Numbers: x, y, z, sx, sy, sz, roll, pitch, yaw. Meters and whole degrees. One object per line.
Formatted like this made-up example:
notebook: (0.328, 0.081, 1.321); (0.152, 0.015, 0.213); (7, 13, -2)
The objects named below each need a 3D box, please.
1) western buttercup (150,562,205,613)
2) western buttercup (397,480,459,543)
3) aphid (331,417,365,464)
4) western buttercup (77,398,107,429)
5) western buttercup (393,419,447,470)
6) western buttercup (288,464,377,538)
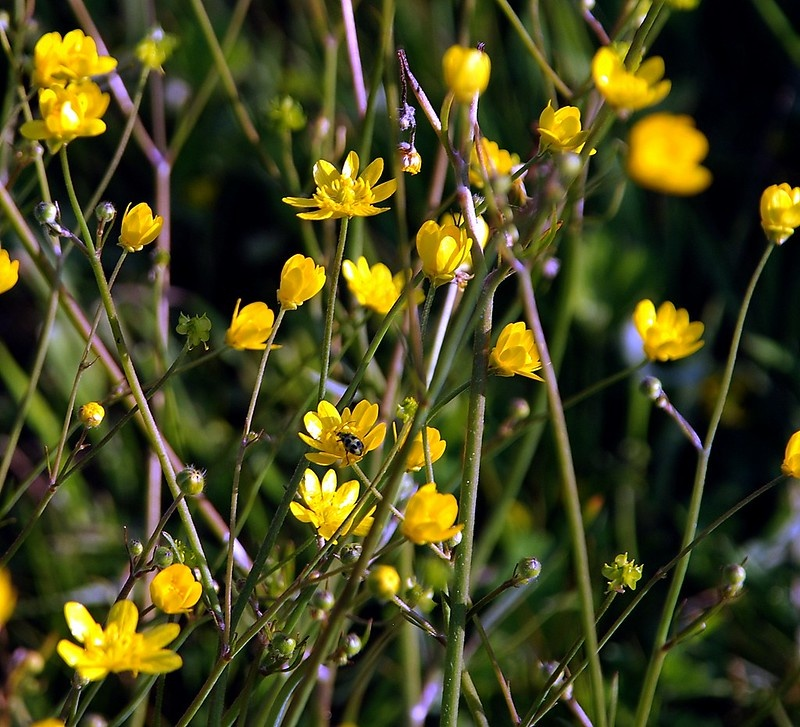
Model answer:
western buttercup: (-0.134, 0.133, 0.551); (0.025, 0.032, 0.018); (33, -19, -9)
western buttercup: (0.017, 0.089, 0.526); (0.029, 0.033, 0.027); (11, -26, -18)
aphid: (-0.031, 0.048, 0.581); (0.018, 0.024, 0.007); (-18, -36, -16)
western buttercup: (-0.208, 0.035, 0.615); (0.015, 0.024, 0.010); (-7, -3, -20)
western buttercup: (0.015, 0.051, 0.570); (0.025, 0.022, 0.031); (-4, 38, -8)
western buttercup: (-0.048, 0.091, 0.608); (0.045, 0.055, 0.023); (24, -45, -20)
